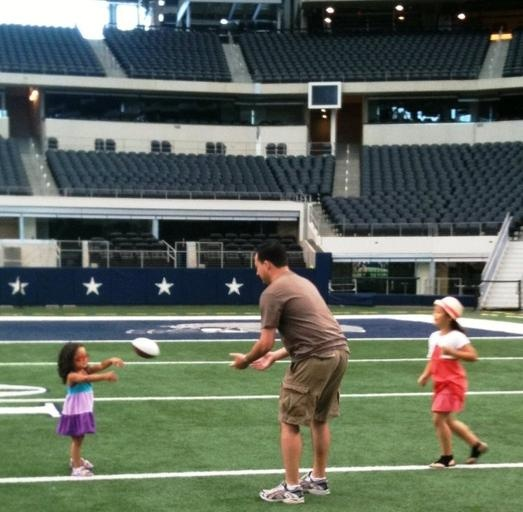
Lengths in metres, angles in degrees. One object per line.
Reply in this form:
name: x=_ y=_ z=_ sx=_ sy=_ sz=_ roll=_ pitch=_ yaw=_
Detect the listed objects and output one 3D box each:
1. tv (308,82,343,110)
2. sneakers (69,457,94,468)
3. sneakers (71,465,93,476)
tv: x=3.097 y=-7.717 z=79.018 sx=1.417 sy=1.122 sz=0.108 roll=0 pitch=2 yaw=7
sneakers: x=-5.107 y=5.919 z=46.948 sx=0.654 sy=0.260 sz=0.273 roll=6 pitch=8 yaw=-3
sneakers: x=-5.081 y=6.123 z=46.781 sx=0.518 sy=0.210 sz=0.280 roll=0 pitch=3 yaw=0
